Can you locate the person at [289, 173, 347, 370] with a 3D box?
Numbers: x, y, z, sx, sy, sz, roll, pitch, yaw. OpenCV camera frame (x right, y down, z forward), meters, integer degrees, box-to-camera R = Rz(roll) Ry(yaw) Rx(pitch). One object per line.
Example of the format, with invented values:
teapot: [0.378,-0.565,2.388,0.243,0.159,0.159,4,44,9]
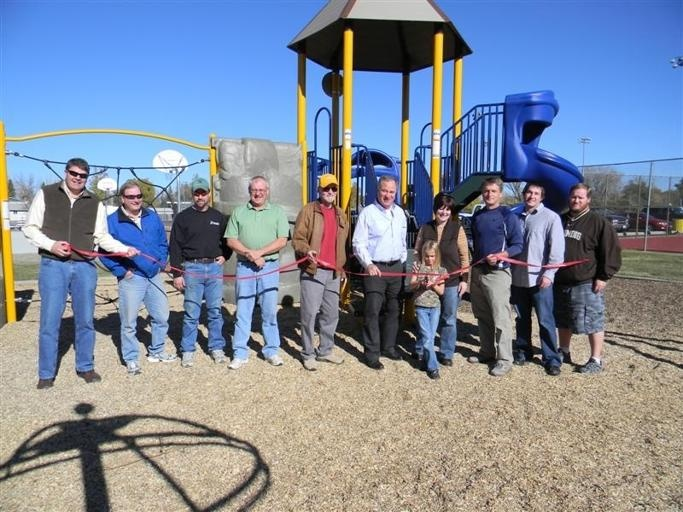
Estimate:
person: [-0.235,0.174,6.254,0.635,2.188,0.458,-4,13,-19]

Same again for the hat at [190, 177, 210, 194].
hat: [-1.580,-0.785,6.069,0.179,0.181,0.349,-3,15,-16]

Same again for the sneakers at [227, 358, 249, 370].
sneakers: [-1.191,1.241,6.254,0.088,0.109,0.221,-4,-10,17]

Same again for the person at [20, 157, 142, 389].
person: [-2.777,0.292,5.671,0.848,2.058,0.380,-6,14,-26]

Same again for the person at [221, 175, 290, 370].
person: [-0.954,0.196,6.272,0.734,2.168,0.547,-2,13,-13]

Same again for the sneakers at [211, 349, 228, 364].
sneakers: [-1.421,1.176,6.354,0.096,0.096,0.204,1,-5,-26]

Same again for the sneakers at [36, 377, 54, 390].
sneakers: [-3.050,1.325,5.627,0.147,0.166,0.082,4,-9,-20]

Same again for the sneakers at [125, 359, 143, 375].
sneakers: [-2.303,1.219,6.062,0.121,0.176,0.155,19,-1,-30]

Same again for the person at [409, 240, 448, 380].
person: [0.947,0.565,6.072,0.397,1.486,0.482,3,13,12]

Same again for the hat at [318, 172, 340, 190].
hat: [-0.160,-0.850,6.174,0.192,0.164,0.284,-1,14,-6]

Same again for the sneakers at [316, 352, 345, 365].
sneakers: [-0.135,1.207,6.461,0.256,0.121,0.150,1,5,9]

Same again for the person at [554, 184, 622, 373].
person: [2.728,0.255,6.111,0.633,2.039,0.395,8,15,29]

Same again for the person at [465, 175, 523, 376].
person: [1.738,0.218,6.166,0.438,2.149,0.707,-5,14,-24]

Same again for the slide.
slide: [1.872,-1.373,7.467,3.169,2.073,2.038,-5,5,7]

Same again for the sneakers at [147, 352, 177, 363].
sneakers: [-2.099,1.184,6.365,0.327,0.178,0.136,0,7,-11]

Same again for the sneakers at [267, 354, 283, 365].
sneakers: [-0.773,1.199,6.333,0.107,0.077,0.162,0,-4,-34]

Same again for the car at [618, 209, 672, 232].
car: [13.835,-1.688,24.982,2.269,1.057,1.123,-3,7,17]

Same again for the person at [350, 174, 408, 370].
person: [0.482,0.187,6.260,0.551,2.186,0.656,12,17,41]
